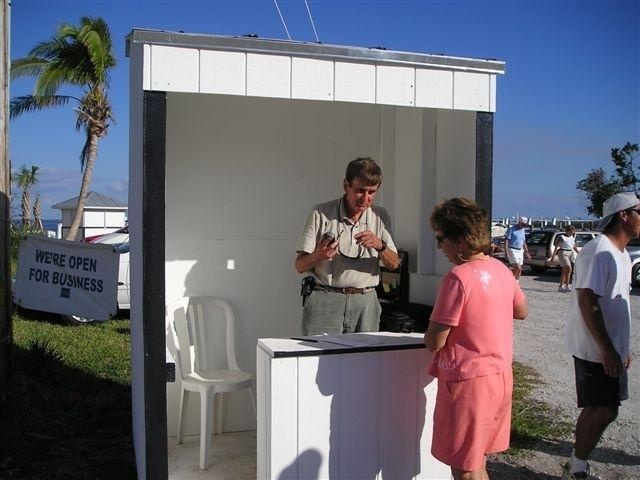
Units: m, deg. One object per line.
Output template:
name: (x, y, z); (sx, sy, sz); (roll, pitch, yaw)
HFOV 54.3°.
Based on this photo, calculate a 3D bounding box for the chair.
chair: (-0.932, 1.182, 5.327); (0.685, 1.296, 0.685); (-2, 6, -17)

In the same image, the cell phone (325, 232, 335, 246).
cell phone: (0.073, -0.004, 4.528); (0.064, 0.084, 0.056); (-3, 2, -10)

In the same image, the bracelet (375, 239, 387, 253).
bracelet: (0.459, 0.054, 4.663); (0.037, 0.095, 0.073); (7, 5, -4)

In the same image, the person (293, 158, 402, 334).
person: (0.207, 0.156, 4.755); (0.762, 1.166, 0.475); (0, 5, 5)

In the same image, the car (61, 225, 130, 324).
car: (-3.373, 0.652, 9.873); (0.982, 1.650, 2.285); (-4, 7, -33)

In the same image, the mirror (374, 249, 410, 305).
mirror: (0.652, 0.381, 5.837); (0.291, 0.509, 0.038); (8, 12, 29)

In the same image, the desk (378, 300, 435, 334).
desk: (0.729, 0.677, 5.515); (0.334, 0.289, 0.325); (1, -5, 43)

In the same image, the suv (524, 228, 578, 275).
suv: (7.358, 0.409, 19.169); (2.168, 1.334, 1.094); (1, 2, -28)

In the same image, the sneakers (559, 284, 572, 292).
sneakers: (5.782, 1.168, 14.769); (0.130, 0.191, 0.372); (-1, -5, -1)
